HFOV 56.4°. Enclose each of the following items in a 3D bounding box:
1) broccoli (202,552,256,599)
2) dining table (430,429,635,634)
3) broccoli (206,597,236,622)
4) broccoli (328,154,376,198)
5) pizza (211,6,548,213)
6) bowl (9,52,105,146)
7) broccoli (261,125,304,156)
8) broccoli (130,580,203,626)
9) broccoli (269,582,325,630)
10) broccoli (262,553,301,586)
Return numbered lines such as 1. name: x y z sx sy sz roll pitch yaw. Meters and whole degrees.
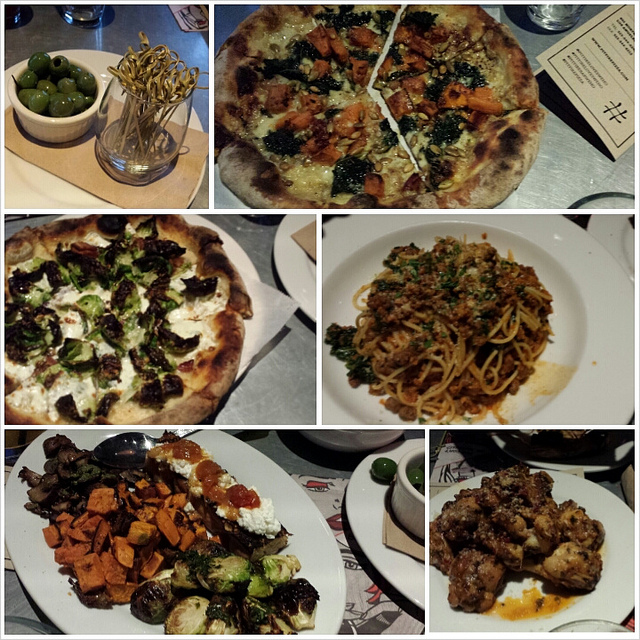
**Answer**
1. broccoli: -0.321 0.897 2.115 0.169 0.140 0.153 38 67 5
2. dining table: 0.789 0.753 2.148 0.770 0.308 0.705 4 68 -9
3. broccoli: -0.338 0.991 2.039 0.068 0.022 0.074 13 41 1
4. broccoli: 0.135 -0.616 2.543 0.167 0.065 0.245 15 66 -4
5. pizza: 0.263 -0.958 2.634 1.449 0.357 1.253 -1 69 -11
6. bowl: -0.976 -0.835 2.225 0.360 0.169 0.325 0 70 -9
7. broccoli: -0.169 -0.789 2.634 0.150 0.055 0.174 -24 75 -18
8. broccoli: -0.528 0.961 2.024 0.210 0.089 0.136 -2 45 -13
9. broccoli: -0.075 1.003 2.080 0.171 0.062 0.147 -3 59 -3
10. broccoli: -0.137 0.905 2.157 0.144 0.045 0.099 3 68 -9
